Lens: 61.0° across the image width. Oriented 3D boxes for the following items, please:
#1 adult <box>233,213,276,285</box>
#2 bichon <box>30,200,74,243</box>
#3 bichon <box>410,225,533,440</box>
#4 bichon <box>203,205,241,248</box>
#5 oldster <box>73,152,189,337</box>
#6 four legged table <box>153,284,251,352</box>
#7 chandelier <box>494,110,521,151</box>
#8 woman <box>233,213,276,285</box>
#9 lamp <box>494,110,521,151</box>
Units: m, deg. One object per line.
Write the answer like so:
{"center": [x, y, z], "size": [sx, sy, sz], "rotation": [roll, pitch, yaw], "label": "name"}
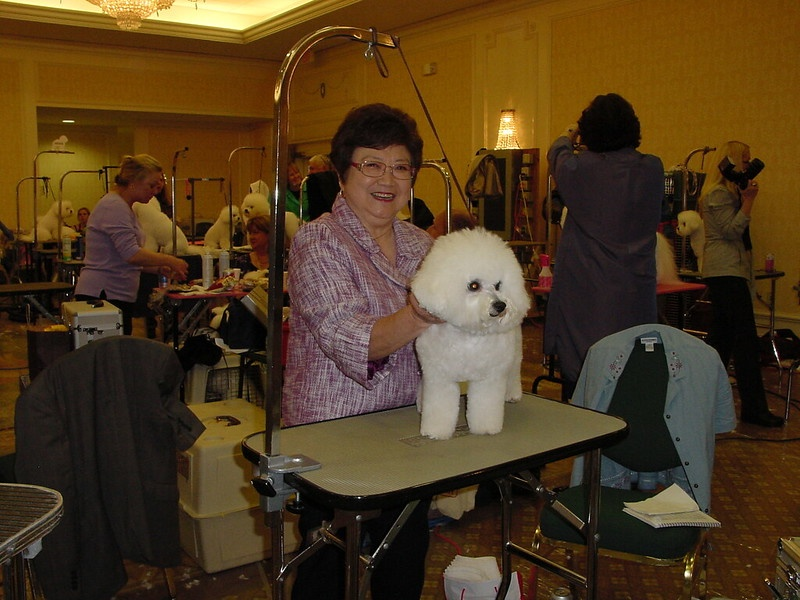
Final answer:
{"center": [-1.324, -0.464, 6.248], "size": [0.232, 0.604, 1.821], "rotation": [-4, 11, -12], "label": "adult"}
{"center": [-5.760, -1.311, 11.268], "size": [0.801, 0.636, 0.504], "rotation": [-12, 5, -23], "label": "bichon"}
{"center": [0.219, 0.095, 2.057], "size": [0.331, 0.618, 0.401], "rotation": [0, 10, 8], "label": "bichon"}
{"center": [-2.570, -1.024, 9.698], "size": [0.536, 0.686, 0.524], "rotation": [8, 7, 31], "label": "bichon"}
{"center": [-2.057, -0.154, 5.165], "size": [0.763, 1.817, 0.572], "rotation": [4, 9, -16], "label": "oldster"}
{"center": [-1.477, 0.125, 5.065], "size": [0.363, 0.263, 0.534], "rotation": [7, 11, 38], "label": "four legged table"}
{"center": [1.495, -2.354, 9.329], "size": [0.311, 0.522, 0.211], "rotation": [2, 11, 15], "label": "chandelier"}
{"center": [-1.324, -0.464, 6.248], "size": [0.232, 0.604, 1.821], "rotation": [-4, 11, -12], "label": "woman"}
{"center": [1.495, -2.354, 9.329], "size": [0.311, 0.522, 0.211], "rotation": [2, 11, 15], "label": "lamp"}
